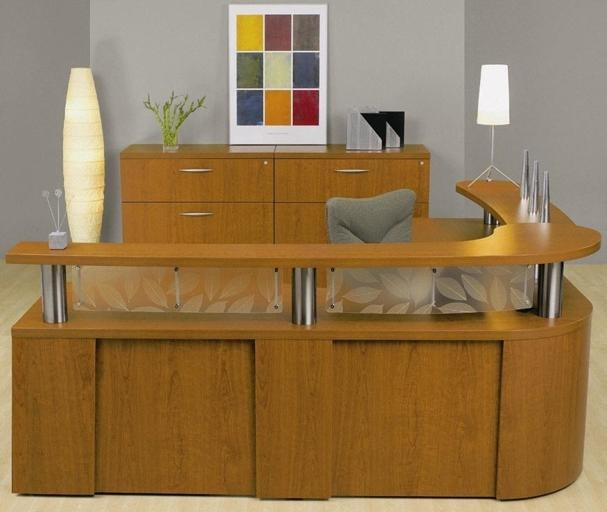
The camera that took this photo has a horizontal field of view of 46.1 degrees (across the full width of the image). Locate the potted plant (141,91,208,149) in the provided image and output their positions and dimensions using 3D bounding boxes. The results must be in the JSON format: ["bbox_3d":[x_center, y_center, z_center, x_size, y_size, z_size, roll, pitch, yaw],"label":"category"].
[{"bbox_3d":[-1.094,-1.114,5.997,0.313,0.396,0.434,12,13,12],"label":"potted plant"}]

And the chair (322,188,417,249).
[{"bbox_3d":[0.381,-0.276,4.172,0.356,0.466,0.355,-6,12,-19],"label":"chair"}]
